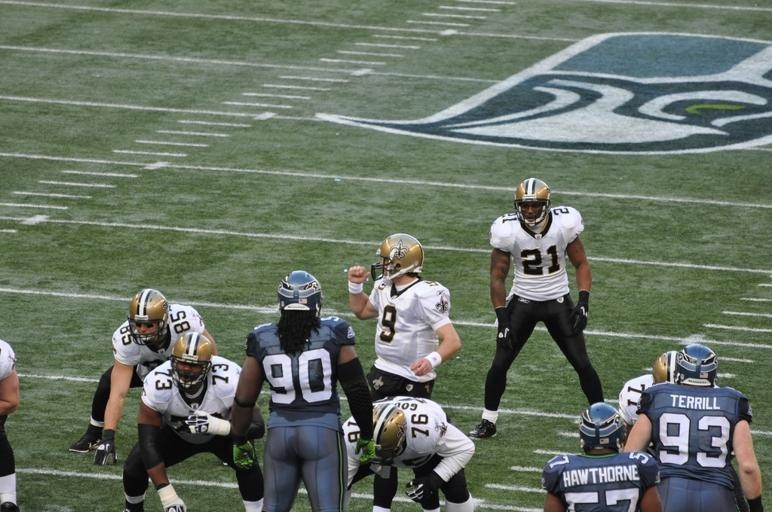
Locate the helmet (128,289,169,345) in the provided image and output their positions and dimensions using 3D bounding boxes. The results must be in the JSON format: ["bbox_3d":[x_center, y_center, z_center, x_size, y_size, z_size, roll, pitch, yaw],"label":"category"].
[{"bbox_3d":[-2.536,0.579,16.963,0.464,0.481,0.602,1,21,2],"label":"helmet"}]

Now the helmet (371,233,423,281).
[{"bbox_3d":[0.157,-0.007,17.263,0.624,0.465,0.460,4,10,2],"label":"helmet"}]

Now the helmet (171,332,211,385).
[{"bbox_3d":[-1.944,1.043,16.413,0.445,0.453,0.536,8,15,1],"label":"helmet"}]

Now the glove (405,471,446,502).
[{"bbox_3d":[0.416,2.368,16.260,0.394,0.236,0.142,-18,26,-18],"label":"glove"}]

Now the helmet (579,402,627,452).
[{"bbox_3d":[2.215,1.658,15.656,0.420,0.446,0.490,2,22,13],"label":"helmet"}]

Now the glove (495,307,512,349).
[{"bbox_3d":[1.362,0.802,17.984,0.128,0.441,0.184,0,5,-12],"label":"glove"}]

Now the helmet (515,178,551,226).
[{"bbox_3d":[1.751,-0.682,18.068,0.422,0.456,0.556,0,21,12],"label":"helmet"}]

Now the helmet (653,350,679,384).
[{"bbox_3d":[2.928,1.134,16.243,0.288,0.308,0.328,2,-9,3],"label":"helmet"}]

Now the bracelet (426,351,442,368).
[{"bbox_3d":[0.528,1.086,16.806,0.187,0.158,0.155,-15,40,-12],"label":"bracelet"}]

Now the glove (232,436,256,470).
[{"bbox_3d":[-1.480,2.046,16.477,0.272,0.274,0.301,-6,23,8],"label":"glove"}]

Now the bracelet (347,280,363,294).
[{"bbox_3d":[-0.329,0.318,17.442,0.155,0.137,0.144,-14,26,-17],"label":"bracelet"}]

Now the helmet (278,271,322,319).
[{"bbox_3d":[-0.920,0.380,16.311,0.411,0.397,0.512,1,21,4],"label":"helmet"}]

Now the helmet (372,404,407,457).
[{"bbox_3d":[0.051,1.777,16.173,0.435,0.457,0.444,-1,-18,13],"label":"helmet"}]

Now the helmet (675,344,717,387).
[{"bbox_3d":[3.182,1.105,15.980,0.380,0.365,0.458,7,28,6],"label":"helmet"}]

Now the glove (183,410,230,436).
[{"bbox_3d":[-1.882,1.755,16.341,0.414,0.231,0.141,3,-30,-21],"label":"glove"}]

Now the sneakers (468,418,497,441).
[{"bbox_3d":[1.136,1.980,17.934,0.351,0.150,0.170,2,0,-44],"label":"sneakers"}]
